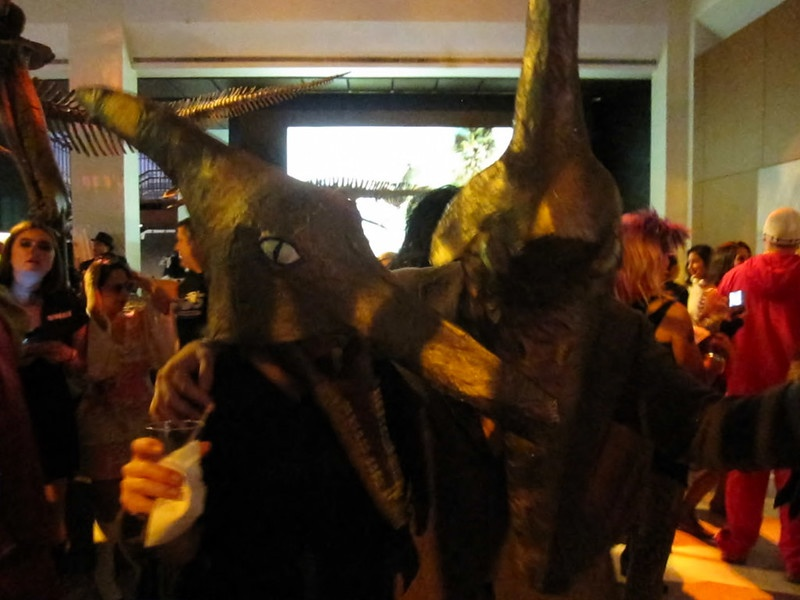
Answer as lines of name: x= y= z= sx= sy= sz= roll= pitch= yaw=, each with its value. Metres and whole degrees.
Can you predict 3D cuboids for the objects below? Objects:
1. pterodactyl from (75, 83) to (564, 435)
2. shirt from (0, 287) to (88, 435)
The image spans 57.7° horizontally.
pterodactyl: x=-0.122 y=-0.057 z=0.954 sx=0.649 sy=0.441 sz=0.105 roll=3 pitch=9 yaw=16
shirt: x=-0.975 y=0.183 z=1.977 sx=0.105 sy=0.410 sz=0.108 roll=-14 pitch=4 yaw=18
